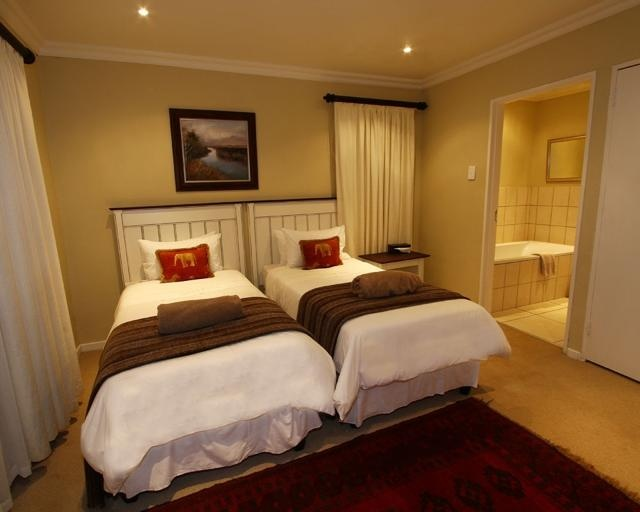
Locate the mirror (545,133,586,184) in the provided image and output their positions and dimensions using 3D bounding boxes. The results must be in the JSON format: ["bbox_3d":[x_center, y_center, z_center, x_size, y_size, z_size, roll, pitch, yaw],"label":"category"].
[{"bbox_3d":[3.130,-1.237,5.900,0.066,0.577,0.473,-9,12,-29],"label":"mirror"}]

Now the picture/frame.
[{"bbox_3d":[-1.128,-1.128,4.732,0.802,0.803,0.053,-7,17,-23],"label":"picture/frame"}]
